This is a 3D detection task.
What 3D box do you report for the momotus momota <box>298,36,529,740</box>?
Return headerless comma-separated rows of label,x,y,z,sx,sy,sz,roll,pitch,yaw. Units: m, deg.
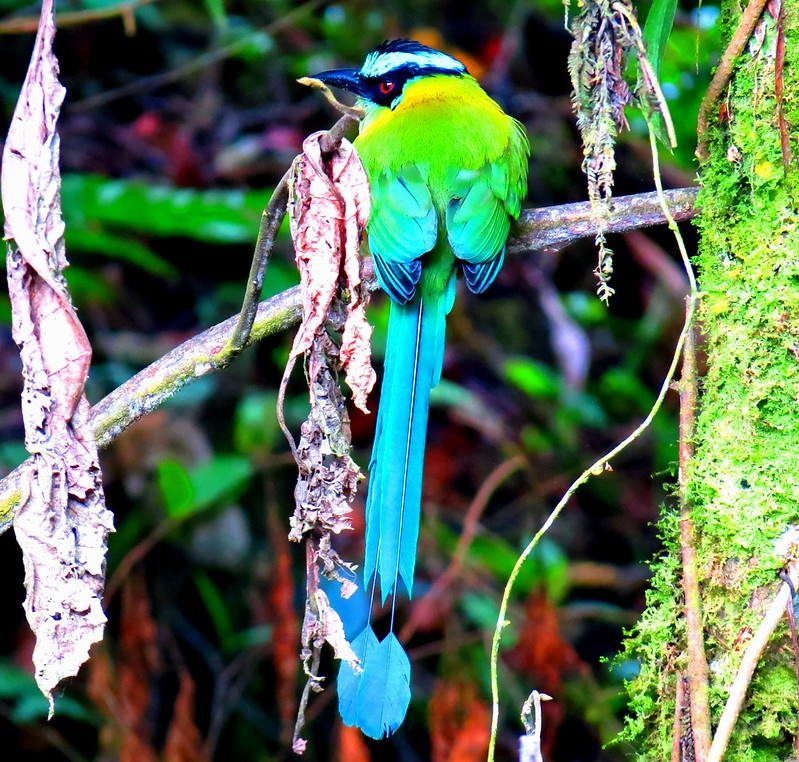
momotus momota,0.044,-0.143,3.251,0.558,1.946,0.552,3,-13,15
